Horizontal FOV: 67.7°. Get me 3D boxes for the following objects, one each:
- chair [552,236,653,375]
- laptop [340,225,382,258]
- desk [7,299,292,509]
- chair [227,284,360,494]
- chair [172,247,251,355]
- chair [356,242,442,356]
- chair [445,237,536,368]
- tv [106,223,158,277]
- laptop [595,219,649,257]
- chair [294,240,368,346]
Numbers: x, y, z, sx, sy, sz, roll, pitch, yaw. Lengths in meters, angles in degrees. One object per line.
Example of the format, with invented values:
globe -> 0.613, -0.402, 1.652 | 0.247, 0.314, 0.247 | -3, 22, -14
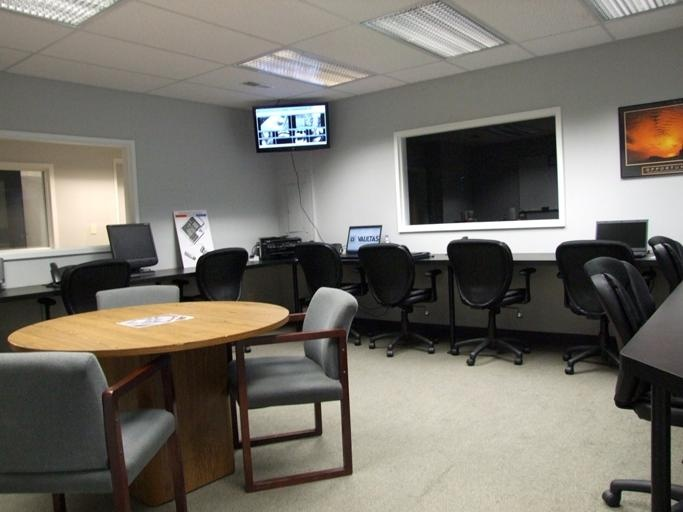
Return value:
chair -> 2.195, 0.373, 4.329 | 0.642, 1.128, 0.753 | -1, 8, 35
laptop -> 0.215, -0.196, 5.888 | 0.453, 0.317, 0.381 | -2, 0, 31
desk -> -0.927, 0.657, 2.735 | 1.161, 0.780, 1.165 | -5, 3, -36
chair -> -0.407, 0.731, 3.382 | 0.925, 1.483, 0.975 | 0, 0, -16
chair -> -1.336, 0.427, 5.317 | 0.685, 1.146, 0.741 | 0, 9, -21
chair -> 0.613, 0.404, 5.232 | 0.727, 1.131, 0.796 | -2, 4, 22
chair -> 1.384, 0.386, 4.791 | 0.729, 1.142, 0.841 | -1, 4, 13
tv -> -2.107, -0.057, 5.128 | 0.222, 0.541, 0.464 | -17, -6, 37
laptop -> 2.531, -0.201, 4.592 | 0.490, 0.374, 0.349 | 0, -3, 43
chair -> -0.040, 0.379, 5.630 | 0.682, 1.114, 0.703 | -2, 7, 33
